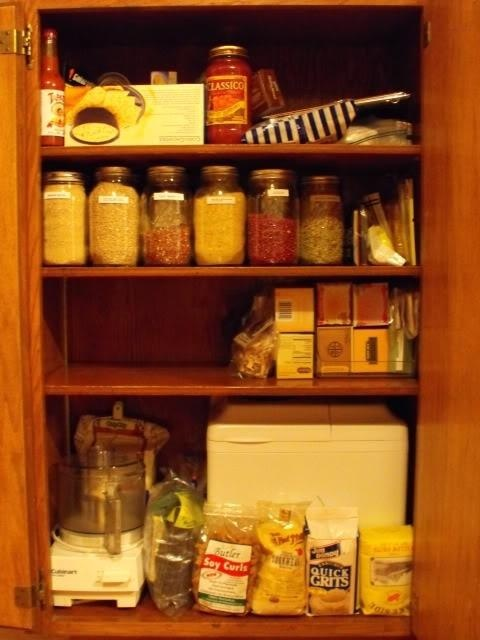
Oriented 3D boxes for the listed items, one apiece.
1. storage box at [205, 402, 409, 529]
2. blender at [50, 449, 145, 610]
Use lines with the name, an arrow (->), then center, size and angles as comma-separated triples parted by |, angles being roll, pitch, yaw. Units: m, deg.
storage box -> 0.182, 0.376, 1.643 | 0.533, 0.337, 0.312 | 1, 7, 1
blender -> -0.368, 0.558, 1.670 | 0.238, 0.350, 0.380 | 0, 6, -8
